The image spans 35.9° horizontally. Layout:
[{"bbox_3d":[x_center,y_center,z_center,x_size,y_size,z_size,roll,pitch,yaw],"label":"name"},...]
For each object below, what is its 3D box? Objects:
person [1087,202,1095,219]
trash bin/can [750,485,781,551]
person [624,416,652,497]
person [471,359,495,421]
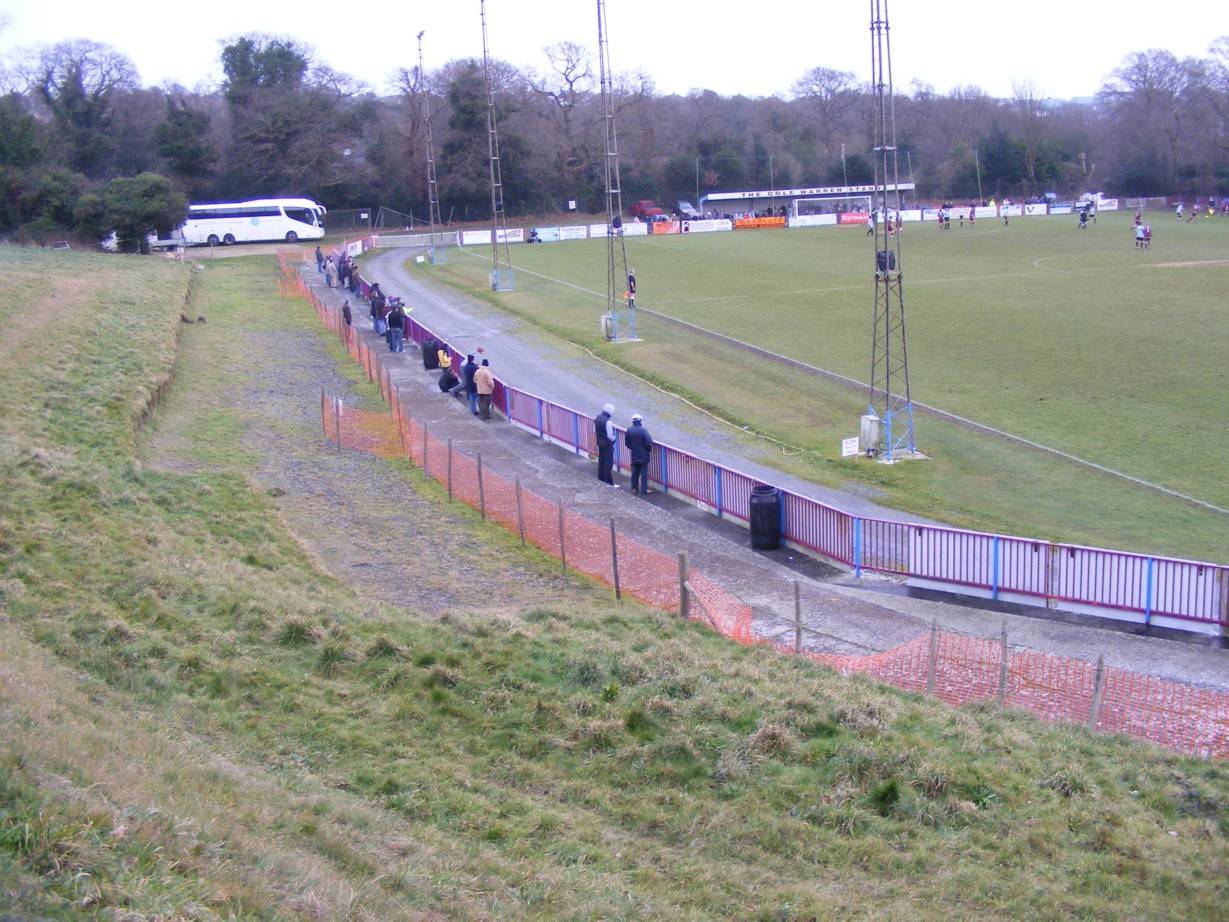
[{"bbox_3d":[29.855,-15.550,118.466,0.644,1.197,0.410,0,0,0],"label":"person"},{"bbox_3d":[4.135,1.557,51.294,0.842,1.712,0.402,1,7,11],"label":"trash bin/can"},{"bbox_3d":[0.720,-0.196,54.832,0.768,2.259,1.028,0,7,0],"label":"person"},{"bbox_3d":[-4.270,-2.248,62.601,0.673,1.662,1.291,-1,7,-5],"label":"person"}]
